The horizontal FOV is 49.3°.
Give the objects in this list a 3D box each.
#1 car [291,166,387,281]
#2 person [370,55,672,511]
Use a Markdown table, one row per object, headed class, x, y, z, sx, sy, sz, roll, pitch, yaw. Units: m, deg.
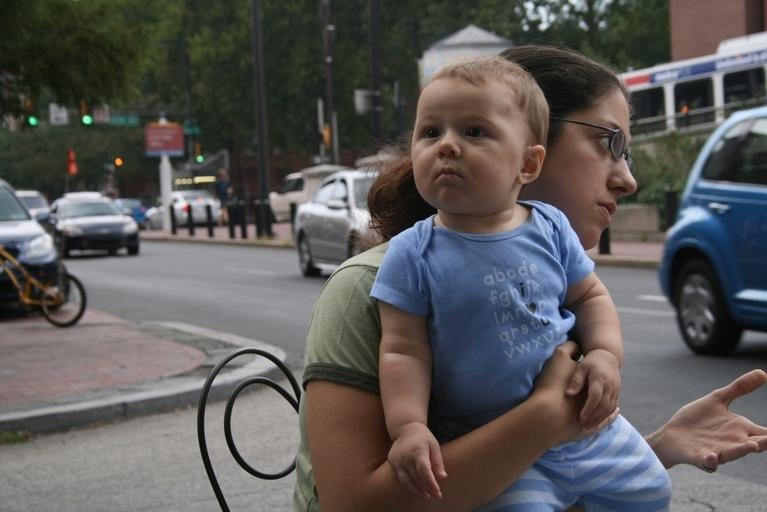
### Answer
| class | x | y | z | sx | sy | sz | roll | pitch | yaw |
| --- | --- | --- | --- | --- | --- | --- | --- | --- | --- |
| car | -0.755 | -0.633 | 13.131 | 1.135 | 1.063 | 2.097 | 0 | -3 | -37 |
| person | 0.364 | 0.113 | 2.340 | 0.787 | 1.313 | 0.308 | -4 | 9 | -19 |
